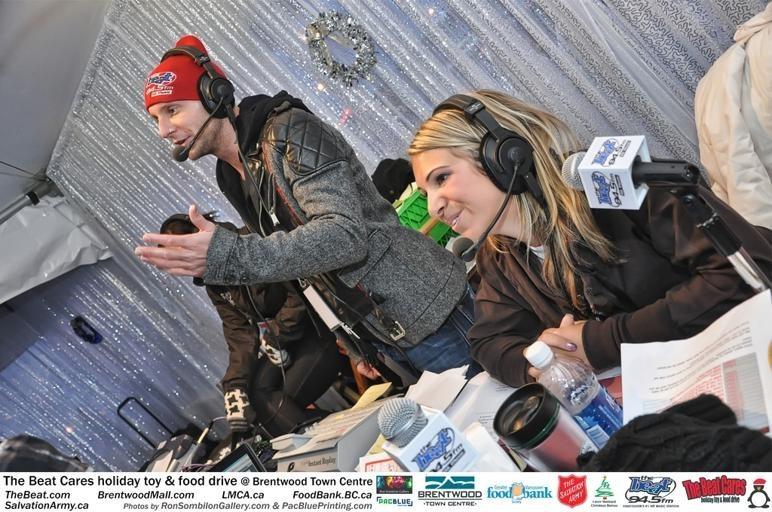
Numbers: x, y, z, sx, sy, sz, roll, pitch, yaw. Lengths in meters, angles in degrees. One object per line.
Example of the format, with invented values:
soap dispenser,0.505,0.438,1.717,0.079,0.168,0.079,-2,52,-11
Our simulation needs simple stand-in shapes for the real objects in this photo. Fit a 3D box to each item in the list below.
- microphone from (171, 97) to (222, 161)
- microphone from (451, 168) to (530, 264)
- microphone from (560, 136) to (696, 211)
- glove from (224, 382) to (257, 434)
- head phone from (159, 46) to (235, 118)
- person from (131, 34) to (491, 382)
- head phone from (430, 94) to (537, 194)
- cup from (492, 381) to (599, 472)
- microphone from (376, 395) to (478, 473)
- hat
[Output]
microphone,-0.701,-0.465,1.861,0.173,0.062,0.238,34,84,37
microphone,0.331,-0.089,1.376,0.233,0.078,0.178,-51,17,-5
microphone,0.398,-0.140,0.833,0.201,0.197,0.099,0,15,29
glove,-0.791,0.839,2.661,0.226,0.169,0.082,-97,24,-45
head phone,-0.691,-0.713,1.934,0.109,0.233,0.268,-35,29,-8
person,-0.246,-0.126,2.178,0.923,1.923,0.709,21,86,39
head phone,0.280,-0.290,1.316,0.147,0.300,0.315,-34,6,12
cup,0.277,0.287,0.838,0.093,0.153,0.094,-42,23,22
microphone,0.062,0.306,0.832,0.116,0.144,0.076,-37,7,-12
hat,-0.823,-0.693,1.947,0.205,0.214,0.272,2,21,-20
